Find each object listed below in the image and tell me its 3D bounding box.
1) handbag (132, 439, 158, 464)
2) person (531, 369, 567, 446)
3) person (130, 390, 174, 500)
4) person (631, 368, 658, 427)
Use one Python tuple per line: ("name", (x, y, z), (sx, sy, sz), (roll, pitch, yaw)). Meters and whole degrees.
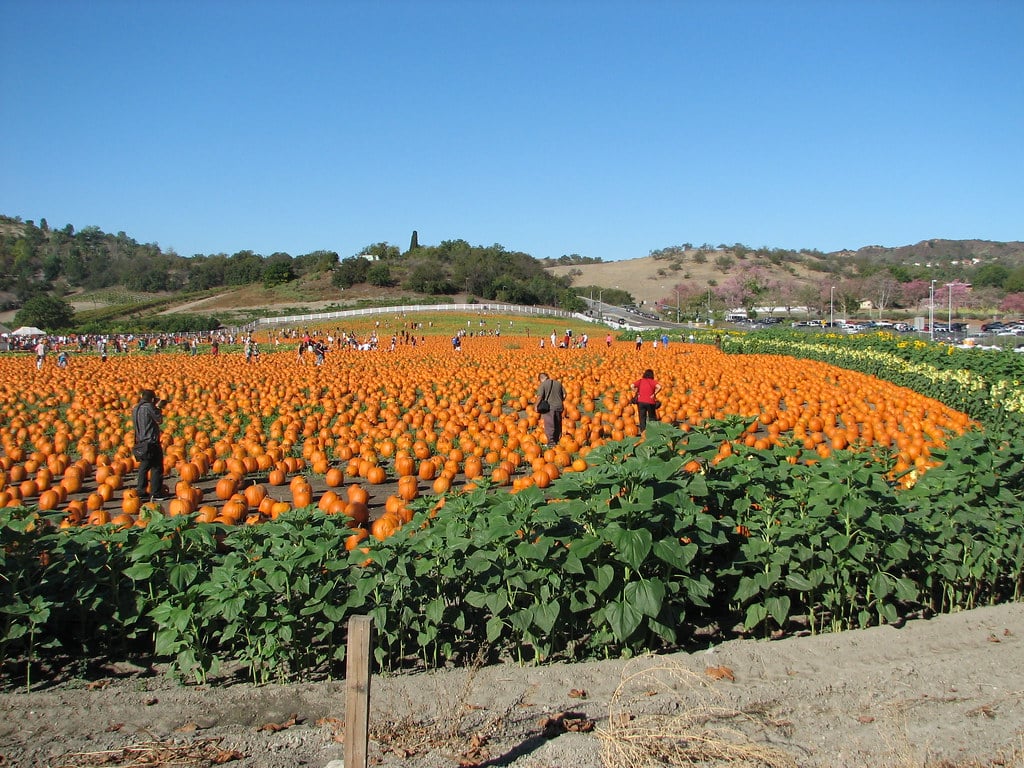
("handbag", (-5.898, 1.083, 10.415), (0.326, 0.323, 0.324), (0, 1, 2))
("person", (0.806, 0.542, 13.647), (0.533, 1.467, 0.801), (-2, 7, 1))
("person", (-5.967, 0.995, 10.722), (0.476, 1.756, 0.813), (-6, 8, -30))
("person", (3.075, 0.398, 15.104), (0.561, 1.507, 0.557), (-4, 23, -4))
